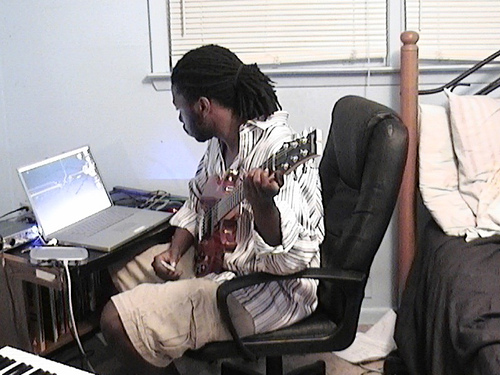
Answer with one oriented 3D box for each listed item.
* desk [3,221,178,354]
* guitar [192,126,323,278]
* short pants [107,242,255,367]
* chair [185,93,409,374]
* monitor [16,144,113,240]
[{"bbox_3d":[-0.693,0.324,2.094,0.367,0.519,0.734,5,15,22],"label":"desk"},{"bbox_3d":[-0.057,0.072,1.926,0.097,0.418,0.780,12,-26,-18],"label":"guitar"},{"bbox_3d":[-0.297,0.460,2.002,0.497,0.285,0.566,-9,20,-19],"label":"short pants"},{"bbox_3d":[0.148,0.173,2.524,0.939,1.698,0.935,0,2,-8],"label":"chair"},{"bbox_3d":[-0.689,0.012,2.180,0.359,0.338,0.495,-1,13,16],"label":"monitor"}]
